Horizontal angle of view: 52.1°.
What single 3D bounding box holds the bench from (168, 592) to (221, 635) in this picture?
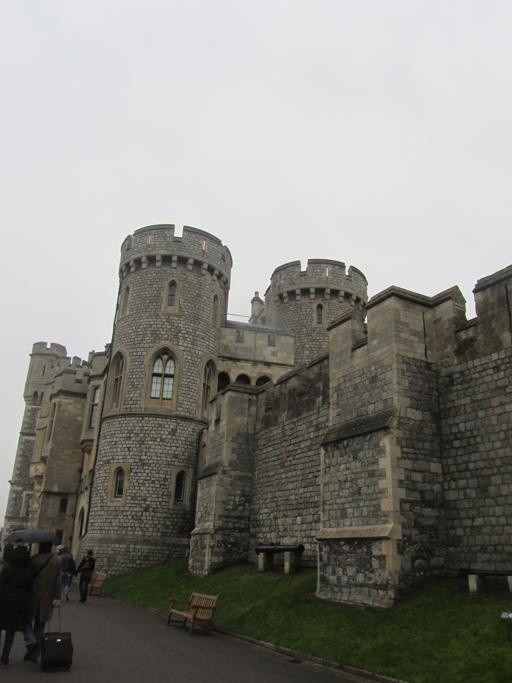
[{"bbox_3d":[-1.307,5.340,10.398,0.833,0.770,2.186,4,-18,-8],"label":"bench"}]
